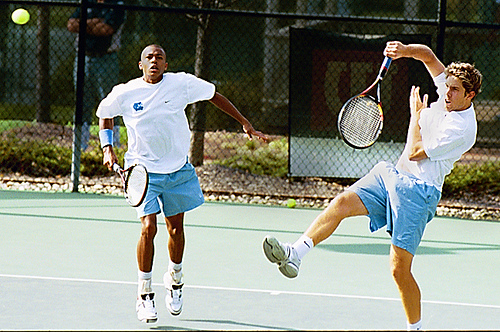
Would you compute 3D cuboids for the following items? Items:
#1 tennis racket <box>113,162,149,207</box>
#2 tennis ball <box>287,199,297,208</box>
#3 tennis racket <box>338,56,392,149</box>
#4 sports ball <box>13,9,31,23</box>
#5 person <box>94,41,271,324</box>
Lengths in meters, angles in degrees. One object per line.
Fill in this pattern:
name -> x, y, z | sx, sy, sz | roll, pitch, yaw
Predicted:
tennis racket -> -1.061, 0.173, 5.015 | 0.155, 0.428, 0.494 | -7, 14, -40
tennis ball -> 0.657, 0.601, 8.832 | 0.112, 0.143, 0.126 | 9, 45, 1
tennis racket -> 1.071, -0.613, 5.275 | 0.452, 0.857, 0.361 | 3, 10, 10
sports ball -> -3.963, -2.654, 9.706 | 0.242, 0.279, 0.152 | 7, -3, -20
person -> -0.807, 0.108, 5.188 | 1.194, 2.400, 0.856 | -1, 10, -15
